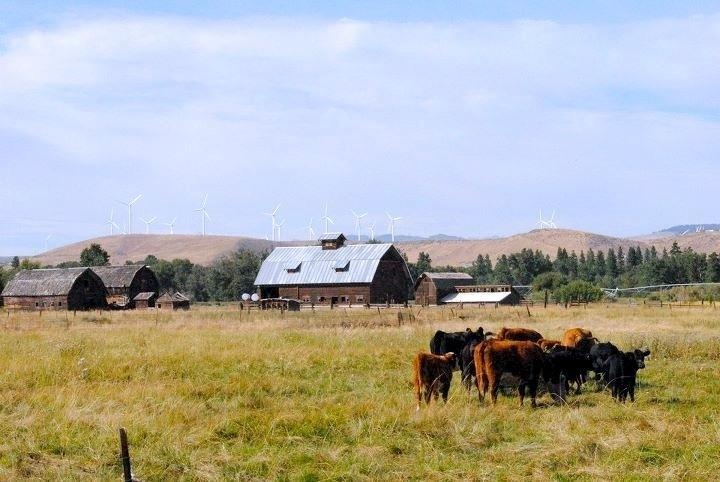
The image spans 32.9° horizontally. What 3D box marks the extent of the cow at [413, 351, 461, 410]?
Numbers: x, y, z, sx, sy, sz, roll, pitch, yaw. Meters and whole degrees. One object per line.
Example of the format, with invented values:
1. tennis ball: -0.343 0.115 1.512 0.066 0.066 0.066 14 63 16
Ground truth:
1. cow: 3.704 7.004 61.466 2.202 2.594 0.610 7 -7 -42
